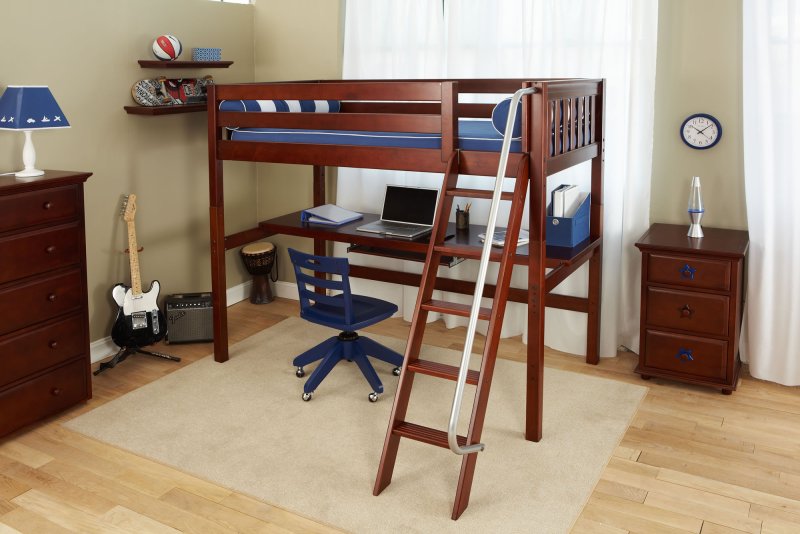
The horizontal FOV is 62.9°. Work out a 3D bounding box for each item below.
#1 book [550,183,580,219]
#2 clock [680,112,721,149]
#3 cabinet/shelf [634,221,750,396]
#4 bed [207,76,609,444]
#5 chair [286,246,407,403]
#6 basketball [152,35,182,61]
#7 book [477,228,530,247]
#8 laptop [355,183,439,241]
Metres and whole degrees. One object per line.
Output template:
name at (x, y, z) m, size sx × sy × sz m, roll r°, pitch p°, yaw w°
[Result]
book at (1.160, -0.465, 4.599) m, size 0.193 × 0.242 × 0.085 m, roll 0°, pitch 6°, yaw -32°
clock at (2.193, -0.999, 4.799) m, size 0.261 × 0.249 × 0.256 m, roll 13°, pitch 27°, yaw 21°
cabinet/shelf at (1.957, 0.420, 4.735) m, size 0.851 × 0.985 × 0.794 m, roll 1°, pitch -14°, yaw 28°
bed at (-0.039, -0.247, 4.845) m, size 2.645 × 2.106 × 1.820 m, roll 9°, pitch 15°, yaw 32°
chair at (-0.393, 0.348, 4.658) m, size 0.839 × 0.975 × 0.856 m, roll 13°, pitch 17°, yaw 43°
basketball at (-1.813, -1.684, 5.029) m, size 0.226 × 0.187 × 0.142 m, roll 0°, pitch 16°, yaw -1°
book at (0.718, -0.217, 4.663) m, size 0.236 × 0.055 × 0.238 m, roll -8°, pitch 14°, yaw -32°
laptop at (0.008, -0.436, 5.085) m, size 0.567 × 0.312 × 0.480 m, roll 9°, pitch 15°, yaw 29°
